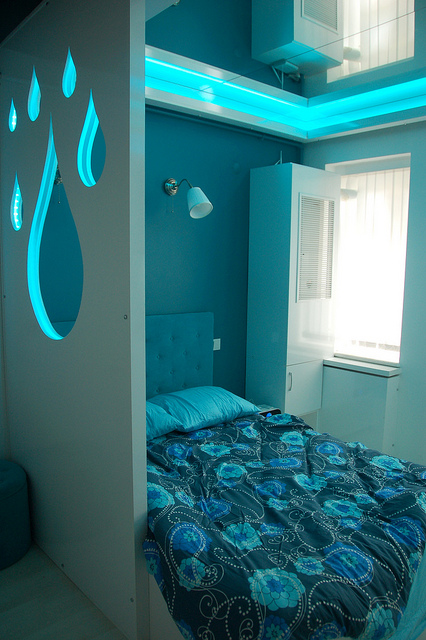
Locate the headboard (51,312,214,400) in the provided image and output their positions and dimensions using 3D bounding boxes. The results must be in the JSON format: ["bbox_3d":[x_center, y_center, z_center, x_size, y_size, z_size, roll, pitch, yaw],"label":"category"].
[{"bbox_3d":[-0.234,0.223,3.385,0.075,0.540,0.644,7,9,42],"label":"headboard"}]

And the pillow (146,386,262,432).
[{"bbox_3d":[-0.130,0.555,3.145,0.715,0.203,0.585,-5,4,-38],"label":"pillow"}]

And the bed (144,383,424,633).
[{"bbox_3d":[0.285,0.740,2.184,1.199,0.281,1.574,0,8,-12],"label":"bed"}]
